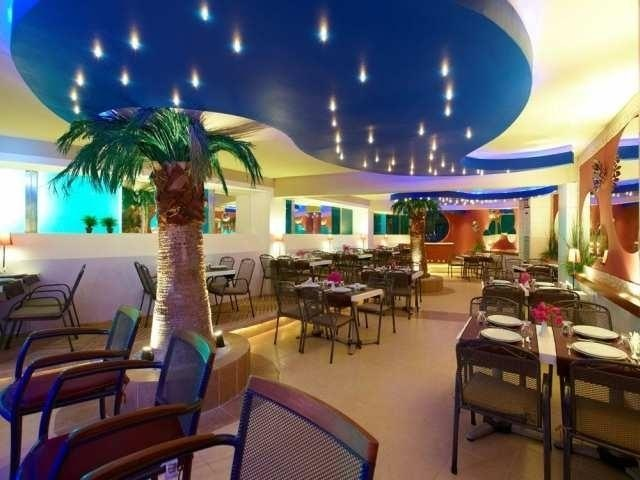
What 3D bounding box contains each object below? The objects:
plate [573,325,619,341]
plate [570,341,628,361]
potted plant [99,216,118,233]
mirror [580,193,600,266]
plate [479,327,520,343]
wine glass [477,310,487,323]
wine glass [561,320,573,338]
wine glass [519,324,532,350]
[{"bbox_3d":[2.593,0.872,4.076,0.380,0.063,0.272,7,12,31],"label":"plate"},{"bbox_3d":[2.404,0.949,3.704,0.400,0.055,0.294,-1,10,-12],"label":"plate"},{"bbox_3d":[-3.694,-0.254,7.666,0.281,0.342,0.318,2,-1,-4],"label":"potted plant"},{"bbox_3d":[4.395,-0.210,7.168,0.404,1.245,0.514,2,-21,30],"label":"mirror"},{"bbox_3d":[1.683,0.879,4.046,0.315,0.048,0.350,-3,11,-22],"label":"plate"},{"bbox_3d":[1.693,0.807,4.531,0.093,0.152,0.098,-1,-2,6],"label":"wine glass"},{"bbox_3d":[2.308,0.824,4.034,0.118,0.140,0.069,-2,10,-17],"label":"wine glass"},{"bbox_3d":[1.915,0.895,4.035,0.092,0.071,0.464,1,8,19],"label":"wine glass"}]
